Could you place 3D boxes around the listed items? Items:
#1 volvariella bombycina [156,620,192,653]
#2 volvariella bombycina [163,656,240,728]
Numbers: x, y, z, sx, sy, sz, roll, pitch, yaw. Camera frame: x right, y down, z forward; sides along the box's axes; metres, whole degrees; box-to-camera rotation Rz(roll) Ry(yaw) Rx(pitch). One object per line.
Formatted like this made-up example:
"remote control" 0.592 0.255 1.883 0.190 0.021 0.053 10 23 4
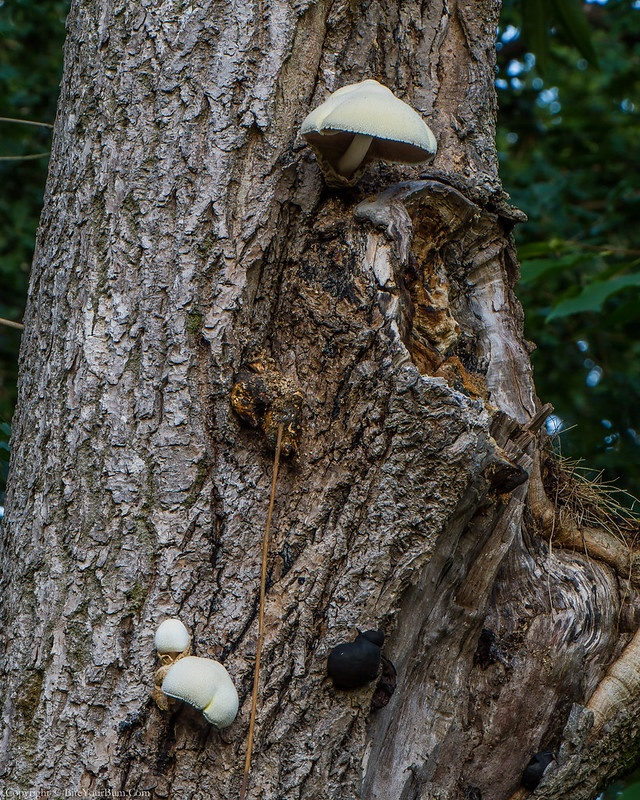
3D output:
"volvariella bombycina" -0.487 0.779 6.083 0.082 0.129 0.102 -2 1 -2
"volvariella bombycina" -0.383 0.937 6.010 0.265 0.137 0.157 24 26 -3
